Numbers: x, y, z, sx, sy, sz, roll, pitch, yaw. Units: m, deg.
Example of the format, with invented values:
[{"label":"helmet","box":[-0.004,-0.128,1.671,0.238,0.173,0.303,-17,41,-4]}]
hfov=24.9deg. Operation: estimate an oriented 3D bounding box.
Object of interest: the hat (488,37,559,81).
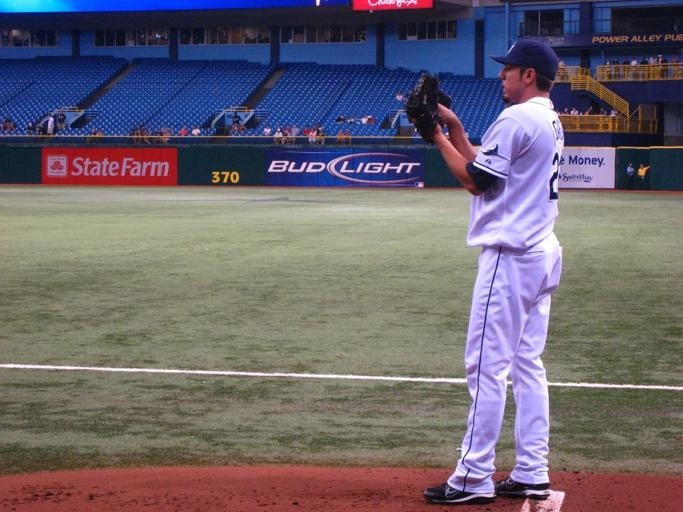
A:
[{"label":"hat","box":[4.013,-4.393,34.052,1.302,0.664,0.853,15,16,6]}]

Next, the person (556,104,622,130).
[{"label":"person","box":[10.975,-5.793,66.774,2.523,0.550,1.372,7,13,30]}]
